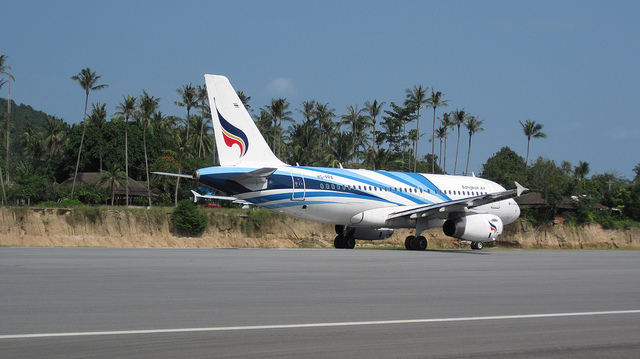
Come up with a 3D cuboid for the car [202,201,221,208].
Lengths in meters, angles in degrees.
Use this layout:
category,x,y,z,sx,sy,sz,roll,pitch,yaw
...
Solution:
category,x,y,z,sx,sy,sz,roll,pitch,yaw
car,-13.981,3.459,71.359,1.853,0.644,1.075,2,-2,17
